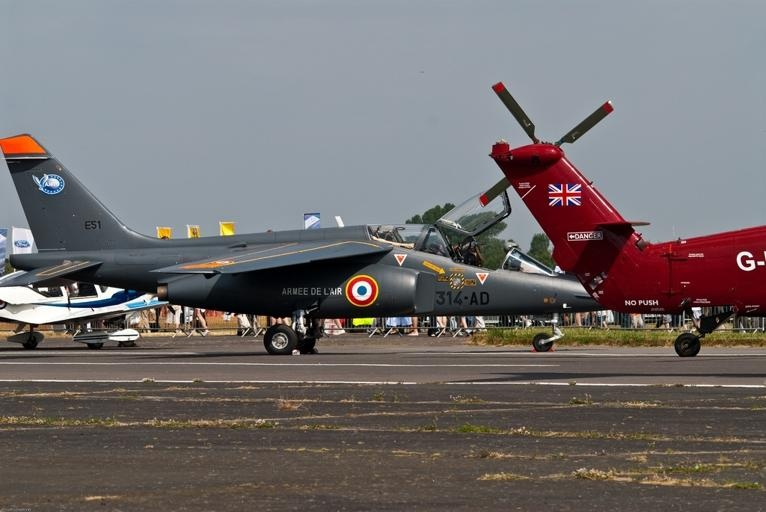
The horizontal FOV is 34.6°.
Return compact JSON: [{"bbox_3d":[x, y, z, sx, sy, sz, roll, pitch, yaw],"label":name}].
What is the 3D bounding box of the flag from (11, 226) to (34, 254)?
[{"bbox_3d":[-14.323,-0.620,48.509,0.155,1.244,1.351,-24,-15,36],"label":"flag"}]
